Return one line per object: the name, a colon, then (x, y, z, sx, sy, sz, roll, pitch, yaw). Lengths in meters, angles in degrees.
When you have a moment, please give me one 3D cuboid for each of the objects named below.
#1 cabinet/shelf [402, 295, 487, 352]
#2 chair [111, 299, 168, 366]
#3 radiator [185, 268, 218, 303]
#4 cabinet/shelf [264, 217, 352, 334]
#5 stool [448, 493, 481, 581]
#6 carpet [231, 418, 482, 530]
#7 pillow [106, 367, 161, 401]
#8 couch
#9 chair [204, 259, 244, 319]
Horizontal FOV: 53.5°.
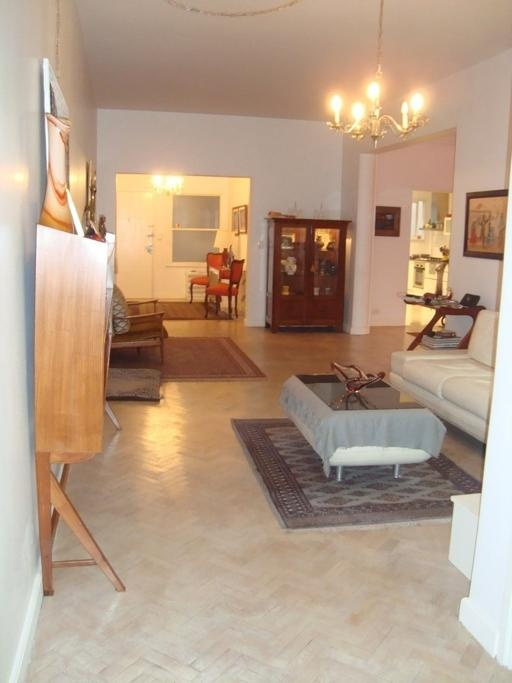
cabinet/shelf: (2.099, -0.406, 5.701, 0.584, 0.706, 1.029, 1, 13, -1)
chair: (-1.472, -0.081, 6.374, 0.699, 0.848, 0.887, -2, 23, -9)
radiator: (-1.267, -1.398, 11.794, 0.747, 1.202, 0.722, 0, 20, -8)
cabinet/shelf: (0.919, -1.192, 8.927, 1.908, 2.644, 1.014, 0, 9, -9)
stool: (0.809, 0.765, 1.982, 0.100, 0.319, 0.272, 4, 6, 23)
carpet: (0.657, 0.811, 3.371, 1.379, 0.076, 1.589, 1, 6, -12)
pillow: (-1.257, 0.447, 5.263, 0.571, 0.145, 1.212, 0, 6, -15)
couch: (1.537, 0.280, 4.061, 0.573, 0.572, 1.136, 1, 10, -4)
chair: (-0.646, -1.080, 10.519, 0.747, 1.122, 1.890, 1, 6, -1)
